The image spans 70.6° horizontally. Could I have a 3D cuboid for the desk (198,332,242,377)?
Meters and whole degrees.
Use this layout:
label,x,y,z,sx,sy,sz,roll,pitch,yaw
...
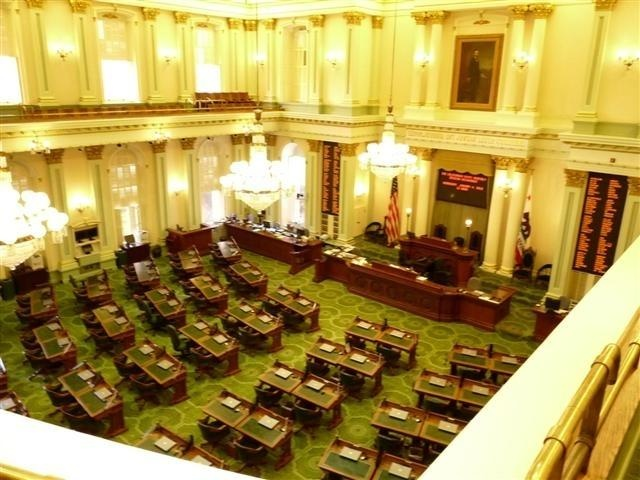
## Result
label,x,y,z,sx,sy,sz,roll,pitch,yaw
desk,-2.412,2.549,10.254,1.198,0.584,0.853,13,14,43

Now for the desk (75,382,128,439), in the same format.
label,x,y,z,sx,sy,sz,roll,pitch,yaw
desk,-4.228,3.139,8.506,1.226,0.643,0.698,14,18,38

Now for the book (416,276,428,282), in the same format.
label,x,y,z,sx,sy,sz,roll,pitch,yaw
book,2.911,1.093,12.938,0.296,0.093,0.430,5,15,16

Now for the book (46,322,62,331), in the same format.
label,x,y,z,sx,sy,sz,roll,pitch,yaw
book,-6.262,2.037,10.673,0.219,0.039,0.191,-11,30,-27

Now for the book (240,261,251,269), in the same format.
label,x,y,z,sx,sy,sz,roll,pitch,yaw
book,-2.291,0.781,14.148,0.233,0.053,0.243,-11,30,-40

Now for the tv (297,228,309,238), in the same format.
label,x,y,z,sx,sy,sz,roll,pitch,yaw
tv,-0.605,-0.254,15.743,0.378,0.224,0.202,21,39,33

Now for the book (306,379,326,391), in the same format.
label,x,y,z,sx,sy,sz,roll,pitch,yaw
book,-0.099,2.790,8.728,0.203,0.036,0.196,9,14,29

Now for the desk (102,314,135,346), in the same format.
label,x,y,z,sx,sy,sz,roll,pitch,yaw
desk,-4.757,2.182,10.741,0.577,0.519,0.778,-10,19,-31

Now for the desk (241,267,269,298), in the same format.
label,x,y,z,sx,sy,sz,roll,pitch,yaw
desk,-1.933,1.328,13.674,0.741,0.707,0.893,-5,17,-18

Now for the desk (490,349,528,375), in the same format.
label,x,y,z,sx,sy,sz,roll,pitch,yaw
desk,3.885,2.565,9.566,0.622,0.295,0.978,9,16,28

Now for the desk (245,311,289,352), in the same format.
label,x,y,z,sx,sy,sz,roll,pitch,yaw
desk,-1.460,2.254,11.246,0.695,0.627,1.226,-14,19,-40

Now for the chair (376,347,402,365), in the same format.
label,x,y,z,sx,sy,sz,roll,pitch,yaw
chair,1.519,2.579,10.131,0.513,0.433,0.415,10,36,24

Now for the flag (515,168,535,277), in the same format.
label,x,y,z,sx,sy,sz,roll,pitch,yaw
flag,6.660,-0.424,14.489,0.566,3.070,1.251,9,20,23

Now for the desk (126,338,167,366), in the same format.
label,x,y,z,sx,sy,sz,roll,pitch,yaw
desk,-3.744,2.427,9.710,0.847,0.197,0.551,18,28,33

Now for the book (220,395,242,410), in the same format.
label,x,y,z,sx,sy,sz,roll,pitch,yaw
book,-1.614,2.943,8.196,0.226,0.038,0.193,8,23,16

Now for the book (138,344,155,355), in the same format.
label,x,y,z,sx,sy,sz,roll,pitch,yaw
book,-3.761,2.376,9.815,0.203,0.043,0.191,24,35,35

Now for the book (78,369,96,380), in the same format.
label,x,y,z,sx,sy,sz,roll,pitch,yaw
book,-4.580,2.641,8.880,0.204,0.037,0.186,21,32,31

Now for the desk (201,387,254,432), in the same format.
label,x,y,z,sx,sy,sz,roll,pitch,yaw
desk,-1.621,3.016,8.113,0.896,0.541,0.604,19,36,34

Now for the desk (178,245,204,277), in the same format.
label,x,y,z,sx,sy,sz,roll,pitch,yaw
desk,-4.403,0.702,14.958,0.906,0.416,1.034,-12,41,-17

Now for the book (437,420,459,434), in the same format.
label,x,y,z,sx,sy,sz,roll,pitch,yaw
book,2.153,3.133,7.595,0.342,0.065,0.307,6,15,20

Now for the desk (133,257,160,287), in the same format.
label,x,y,z,sx,sy,sz,roll,pitch,yaw
desk,-5.358,1.006,13.921,0.550,0.216,0.970,-7,26,-35

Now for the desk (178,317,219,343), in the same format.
label,x,y,z,sx,sy,sz,roll,pitch,yaw
desk,-2.814,2.119,10.543,0.796,0.270,0.527,23,37,32

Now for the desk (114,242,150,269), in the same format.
label,x,y,z,sx,sy,sz,roll,pitch,yaw
desk,-6.296,0.531,15.143,0.591,0.715,0.971,9,18,40

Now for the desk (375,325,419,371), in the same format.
label,x,y,z,sx,sy,sz,roll,pitch,yaw
desk,1.681,2.445,10.492,1.184,0.721,0.966,12,16,36

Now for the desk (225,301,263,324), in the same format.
label,x,y,z,sx,sy,sz,roll,pitch,yaw
desk,-1.906,1.986,11.584,0.814,0.350,0.594,23,35,35

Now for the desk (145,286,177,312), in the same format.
label,x,y,z,sx,sy,sz,roll,pitch,yaw
desk,-4.194,1.550,12.128,0.546,0.252,1.151,-9,24,-36

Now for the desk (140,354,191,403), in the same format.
label,x,y,z,sx,sy,sz,roll,pitch,yaw
desk,-3.224,2.866,9.310,0.455,0.451,0.977,-13,26,-42

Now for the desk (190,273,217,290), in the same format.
label,x,y,z,sx,sy,sz,roll,pitch,yaw
desk,-3.404,1.203,13.203,0.434,0.199,0.585,-18,28,-41

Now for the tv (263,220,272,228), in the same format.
label,x,y,z,sx,sy,sz,roll,pitch,yaw
tv,-2.015,-0.616,17.141,0.312,0.245,0.170,30,49,31

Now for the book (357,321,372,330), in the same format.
label,x,y,z,sx,sy,sz,roll,pitch,yaw
book,1.067,2.037,10.852,0.219,0.038,0.194,9,23,24

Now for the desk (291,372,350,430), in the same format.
label,x,y,z,sx,sy,sz,roll,pitch,yaw
desk,-0.026,3.068,8.656,0.978,0.581,0.601,7,18,39

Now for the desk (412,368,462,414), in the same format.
label,x,y,z,sx,sy,sz,roll,pitch,yaw
desk,2.299,2.962,8.908,0.808,0.582,0.570,11,30,20

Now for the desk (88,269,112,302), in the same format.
label,x,y,z,sx,sy,sz,roll,pitch,yaw
desk,-6.307,1.339,12.982,0.349,0.341,0.840,-22,36,-11

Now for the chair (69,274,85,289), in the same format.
label,x,y,z,sx,sy,sz,roll,pitch,yaw
chair,-7.474,1.273,13.903,0.357,0.490,0.350,-16,32,-38

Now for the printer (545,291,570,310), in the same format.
label,x,y,z,sx,sy,sz,roll,pitch,yaw
printer,6.140,1.567,11.730,0.465,0.246,0.262,15,31,38

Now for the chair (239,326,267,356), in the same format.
label,x,y,z,sx,sy,sz,roll,pitch,yaw
chair,-1.615,2.436,10.903,0.633,0.610,0.648,-16,26,-38

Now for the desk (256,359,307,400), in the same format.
label,x,y,z,sx,sy,sz,roll,pitch,yaw
desk,-0.780,2.790,9.012,0.851,0.386,0.600,12,27,42

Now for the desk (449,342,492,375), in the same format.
label,x,y,z,sx,sy,sz,roll,pitch,yaw
desk,3.259,2.624,9.891,0.864,0.506,0.501,7,39,26

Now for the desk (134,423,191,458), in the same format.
label,x,y,z,sx,sy,sz,roll,pitch,yaw
desk,-2.570,3.214,7.318,0.689,0.178,0.403,-25,-4,38

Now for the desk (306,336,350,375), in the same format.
label,x,y,z,sx,sy,sz,roll,pitch,yaw
desk,0.128,2.493,9.844,0.906,0.445,0.825,19,37,29

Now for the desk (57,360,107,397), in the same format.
label,x,y,z,sx,sy,sz,roll,pitch,yaw
desk,-4.624,2.700,8.771,0.799,0.353,0.575,29,46,29

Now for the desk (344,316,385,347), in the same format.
label,x,y,z,sx,sy,sz,roll,pitch,yaw
desk,1.050,2.153,10.700,0.788,0.352,0.701,17,36,29

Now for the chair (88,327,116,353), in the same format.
label,x,y,z,sx,sy,sz,roll,pitch,yaw
chair,-5.133,2.361,10.731,0.570,0.493,0.601,-13,26,-28

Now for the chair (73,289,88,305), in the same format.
label,x,y,z,sx,sy,sz,roll,pitch,yaw
chair,-6.630,1.636,12.591,0.306,0.526,0.602,-9,19,-28

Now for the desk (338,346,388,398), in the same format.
label,x,y,z,sx,sy,sz,roll,pitch,yaw
desk,0.878,2.810,9.542,0.968,0.727,0.595,16,38,29

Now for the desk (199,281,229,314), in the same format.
label,x,y,z,sx,sy,sz,roll,pitch,yaw
desk,-2.997,1.624,12.666,0.503,0.658,0.878,-9,20,-40

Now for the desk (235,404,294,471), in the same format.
label,x,y,z,sx,sy,sz,roll,pitch,yaw
desk,-1.022,3.303,7.763,0.934,0.693,1.056,-16,22,-39

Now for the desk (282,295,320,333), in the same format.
label,x,y,z,sx,sy,sz,roll,pitch,yaw
desk,-0.535,1.892,11.868,0.993,0.685,1.324,-9,14,-33

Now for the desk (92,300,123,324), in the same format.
label,x,y,z,sx,sy,sz,roll,pitch,yaw
desk,-5.278,1.804,11.293,0.544,0.158,0.748,-17,32,-30

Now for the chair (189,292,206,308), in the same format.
label,x,y,z,sx,sy,sz,roll,pitch,yaw
chair,-3.376,1.726,12.689,0.426,0.497,0.354,-1,18,-5

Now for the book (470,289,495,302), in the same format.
label,x,y,z,sx,sy,sz,roll,pitch,yaw
book,4.464,1.513,12.310,0.390,0.077,0.341,-1,16,-26

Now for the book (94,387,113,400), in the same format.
label,x,y,z,sx,sy,sz,roll,pitch,yaw
book,-4.012,2.859,8.423,0.204,0.039,0.202,23,28,32

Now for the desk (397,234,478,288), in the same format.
label,x,y,z,sx,sy,sz,roll,pitch,yaw
desk,3.916,0.581,14.923,0.915,1.199,2.996,-17,19,-31

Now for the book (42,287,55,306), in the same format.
label,x,y,z,sx,sy,sz,roll,pitch,yaw
book,-7.281,1.512,12.155,0.385,0.115,0.548,5,25,-20

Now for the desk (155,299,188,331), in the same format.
label,x,y,z,sx,sy,sz,roll,pitch,yaw
desk,-3.846,1.934,11.643,0.463,0.666,0.844,-7,15,-42

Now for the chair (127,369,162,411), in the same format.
label,x,y,z,sx,sy,sz,roll,pitch,yaw
chair,-3.555,3.066,9.232,0.665,0.690,0.668,-17,28,-34

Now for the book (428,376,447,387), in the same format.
label,x,y,z,sx,sy,sz,roll,pitch,yaw
book,2.300,2.759,8.818,0.336,0.063,0.282,7,15,24
